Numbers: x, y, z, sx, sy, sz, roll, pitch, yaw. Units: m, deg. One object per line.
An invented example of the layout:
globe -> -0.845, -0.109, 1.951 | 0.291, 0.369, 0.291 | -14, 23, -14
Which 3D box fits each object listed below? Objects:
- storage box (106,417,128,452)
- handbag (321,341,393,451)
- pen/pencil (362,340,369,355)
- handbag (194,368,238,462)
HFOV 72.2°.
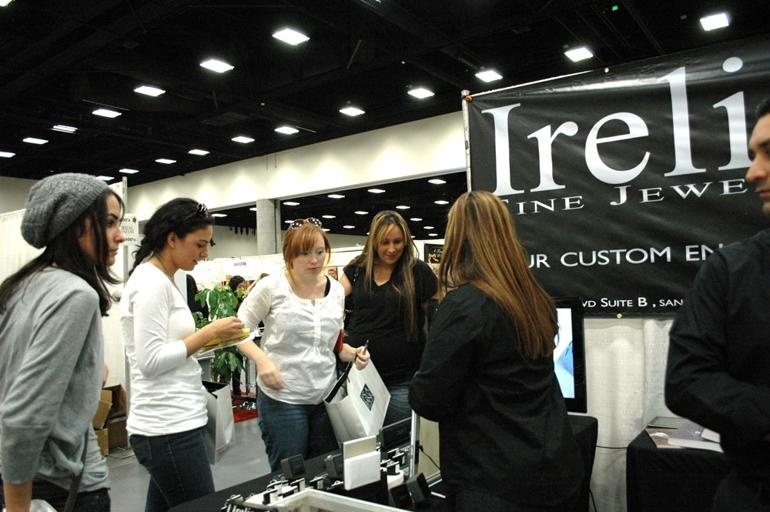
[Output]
storage box -> -2.655, 1.796, 5.393 | 0.185, 0.344, 0.266 | -6, -16, 10
handbag -> -0.118, 0.714, 2.812 | 0.179, 0.419, 0.465 | -6, 22, 19
pen/pencil -> -0.105, 0.523, 3.071 | 0.027, 0.096, 0.027 | 32, 36, 34
handbag -> -0.868, 0.846, 2.653 | 0.100, 0.269, 0.275 | -10, -12, -31
